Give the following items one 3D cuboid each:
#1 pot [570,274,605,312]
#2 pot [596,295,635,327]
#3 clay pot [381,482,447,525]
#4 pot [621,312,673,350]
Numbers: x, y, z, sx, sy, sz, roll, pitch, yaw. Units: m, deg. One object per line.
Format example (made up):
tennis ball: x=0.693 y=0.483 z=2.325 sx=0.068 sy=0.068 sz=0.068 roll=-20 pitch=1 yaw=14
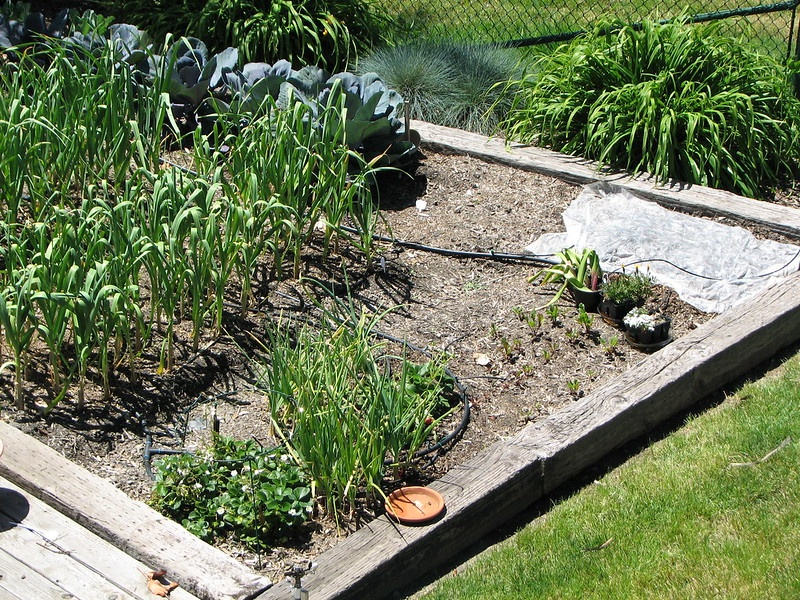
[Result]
pot: x=1.008 y=-0.023 z=4.500 sx=0.171 sy=0.143 sz=0.191 roll=4 pitch=29 yaw=12
pot: x=1.120 y=0.062 z=4.365 sx=0.136 sy=0.100 sz=0.142 roll=0 pitch=37 yaw=0
clay pot: x=0.060 y=0.802 z=3.239 sx=0.229 sy=0.081 sz=0.173 roll=-4 pitch=47 yaw=4
pot: x=1.281 y=0.133 z=4.244 sx=0.173 sy=0.125 sz=0.221 roll=20 pitch=32 yaw=39
